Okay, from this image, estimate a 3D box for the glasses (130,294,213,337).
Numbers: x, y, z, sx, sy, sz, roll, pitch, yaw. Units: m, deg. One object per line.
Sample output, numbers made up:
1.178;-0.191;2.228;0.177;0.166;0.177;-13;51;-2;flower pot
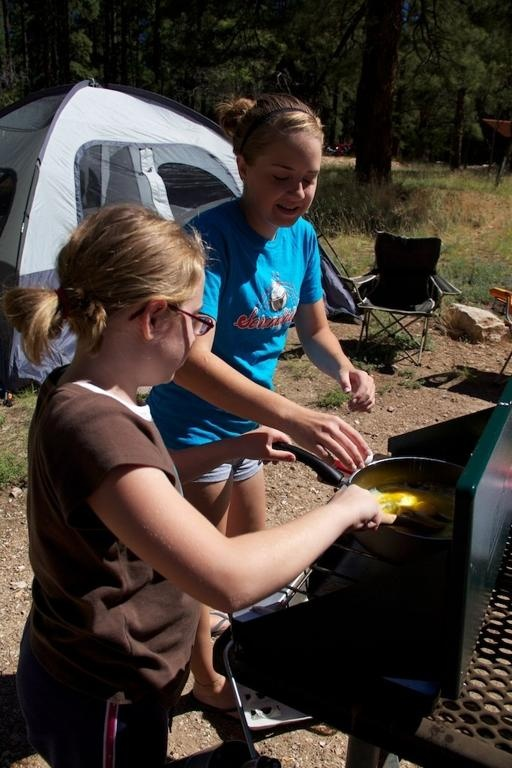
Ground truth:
-0.121;-0.108;1.057;0.066;0.020;0.055;34;15;4;glasses
